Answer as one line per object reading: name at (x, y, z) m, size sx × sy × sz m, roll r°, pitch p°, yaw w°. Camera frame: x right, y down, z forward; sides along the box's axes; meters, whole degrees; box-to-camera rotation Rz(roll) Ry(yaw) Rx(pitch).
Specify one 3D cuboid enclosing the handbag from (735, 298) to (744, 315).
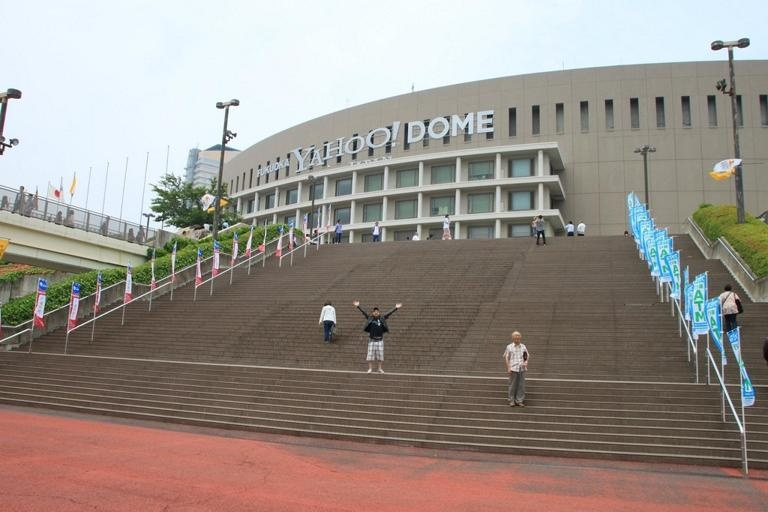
handbag at (9.799, 1.406, 13.616) m, size 0.136 × 0.344 × 0.539 m, roll -4°, pitch -9°, yaw 40°

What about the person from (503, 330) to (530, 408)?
person at (3.290, 2.835, 12.222) m, size 0.529 × 1.785 × 0.460 m, roll 1°, pitch -7°, yaw 14°

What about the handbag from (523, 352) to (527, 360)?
handbag at (3.473, 2.488, 12.112) m, size 0.116 × 0.200 × 0.033 m, roll 8°, pitch -9°, yaw -40°

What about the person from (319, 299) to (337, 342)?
person at (-2.017, 2.421, 17.851) m, size 0.500 × 1.451 × 0.590 m, roll 3°, pitch -7°, yaw -7°
